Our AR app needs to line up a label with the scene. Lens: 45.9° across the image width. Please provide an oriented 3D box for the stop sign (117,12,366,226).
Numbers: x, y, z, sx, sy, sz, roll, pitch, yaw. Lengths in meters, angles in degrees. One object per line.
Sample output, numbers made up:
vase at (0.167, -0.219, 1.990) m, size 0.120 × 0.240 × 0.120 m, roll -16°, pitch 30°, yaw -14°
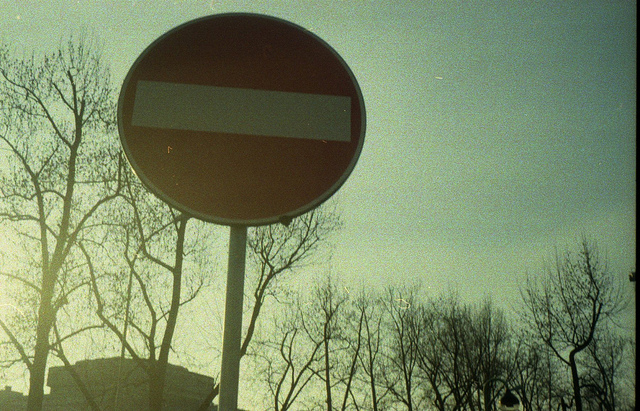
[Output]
stop sign at (-0.327, -0.353, 3.104) m, size 0.761 × 0.866 × 0.042 m, roll 2°, pitch -4°, yaw 2°
